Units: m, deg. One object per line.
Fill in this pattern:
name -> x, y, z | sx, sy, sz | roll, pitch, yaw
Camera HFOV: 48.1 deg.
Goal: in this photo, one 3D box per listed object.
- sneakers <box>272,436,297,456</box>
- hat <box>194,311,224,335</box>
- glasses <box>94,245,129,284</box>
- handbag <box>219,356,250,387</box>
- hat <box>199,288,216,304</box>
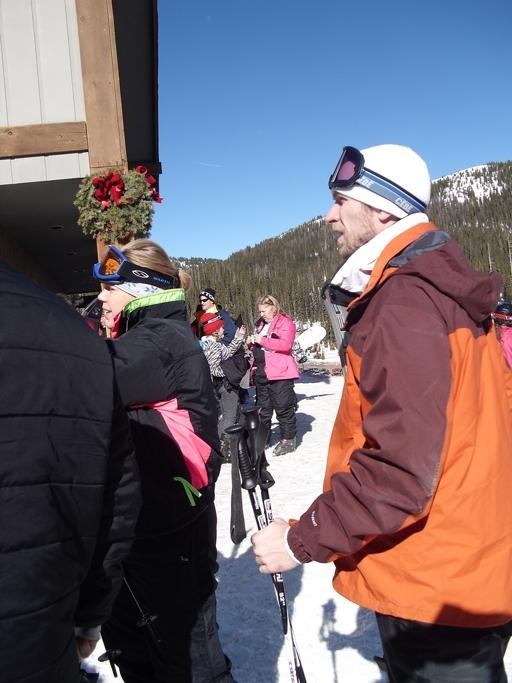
sneakers -> 0.335, 1.274, 6.937 | 0.118, 0.139, 0.358 | -1, 2, 41
hat -> -0.542, -0.173, 6.203 | 0.306, 0.226, 0.237 | -29, 16, 3
glasses -> -0.585, -0.295, 2.323 | 0.066, 0.129, 0.176 | -4, -25, -48
handbag -> -0.244, 0.335, 6.577 | 0.292, 0.339, 0.119 | 1, 9, -29
hat -> -0.563, -0.548, 6.908 | 0.163, 0.169, 0.227 | -9, -9, 44
